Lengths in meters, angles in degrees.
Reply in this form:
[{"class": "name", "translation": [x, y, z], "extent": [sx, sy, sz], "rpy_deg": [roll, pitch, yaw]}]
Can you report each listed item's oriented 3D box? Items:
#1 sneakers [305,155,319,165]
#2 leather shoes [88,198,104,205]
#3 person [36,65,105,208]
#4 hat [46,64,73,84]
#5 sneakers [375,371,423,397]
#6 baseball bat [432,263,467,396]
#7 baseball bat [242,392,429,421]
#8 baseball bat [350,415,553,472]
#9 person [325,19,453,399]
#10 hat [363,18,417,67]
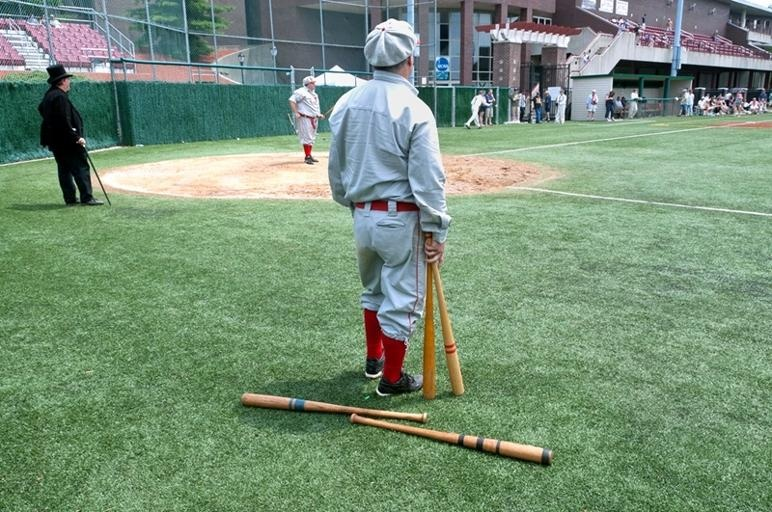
[{"class": "sneakers", "translation": [-1.785, -2.267, 15.558], "extent": [0.266, 0.124, 0.183], "rpy_deg": [11, 19, 39]}, {"class": "leather shoes", "translation": [-4.711, -0.888, 10.725], "extent": [0.240, 0.114, 0.089], "rpy_deg": [-1, 11, -18]}, {"class": "person", "translation": [-5.110, -1.909, 10.528], "extent": [0.711, 2.200, 0.842], "rpy_deg": [-10, 16, -27]}, {"class": "hat", "translation": [-5.199, -2.884, 10.457], "extent": [0.278, 0.305, 0.697], "rpy_deg": [-10, 17, -25]}, {"class": "sneakers", "translation": [0.128, 1.104, 5.664], "extent": [0.425, 0.198, 0.172], "rpy_deg": [-3, 11, -22]}, {"class": "baseball bat", "translation": [0.522, 0.708, 5.488], "extent": [0.177, 1.473, 0.180], "rpy_deg": [-6, 0, 17]}, {"class": "baseball bat", "translation": [-0.420, 1.249, 5.420], "extent": [0.932, 0.107, 0.115], "rpy_deg": [4, 12, 11]}, {"class": "baseball bat", "translation": [0.499, 1.471, 5.092], "extent": [1.189, 0.142, 0.110], "rpy_deg": [9, 26, 13]}, {"class": "person", "translation": [0.032, -0.356, 5.435], "extent": [0.884, 3.033, 0.599], "rpy_deg": [-4, 14, -6]}, {"class": "hat", "translation": [0.031, -1.719, 5.343], "extent": [0.406, 0.371, 0.235], "rpy_deg": [-3, 15, -2]}]
